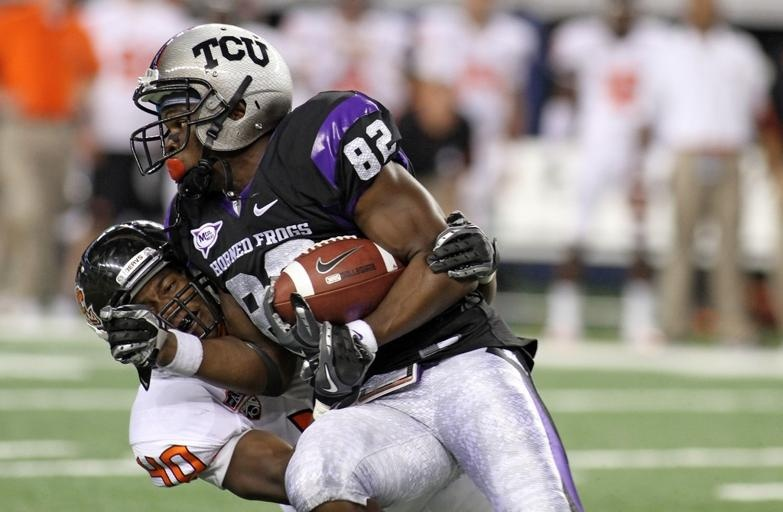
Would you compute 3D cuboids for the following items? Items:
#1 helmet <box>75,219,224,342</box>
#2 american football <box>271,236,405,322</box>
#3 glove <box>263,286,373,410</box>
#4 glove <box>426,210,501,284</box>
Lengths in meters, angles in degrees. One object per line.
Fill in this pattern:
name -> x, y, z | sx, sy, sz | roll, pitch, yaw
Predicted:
helmet -> -1.080, 0.072, 4.567 | 0.432, 0.490, 0.565 | -48, 10, 1
american football -> -0.212, 0.076, 4.010 | 0.430, 0.265, 0.272 | -14, 11, -14
glove -> -0.242, 0.324, 4.043 | 0.336, 0.458, 0.235 | -42, -3, 16
glove -> 0.283, -0.014, 3.951 | 0.242, 0.242, 0.110 | 3, -23, -21
